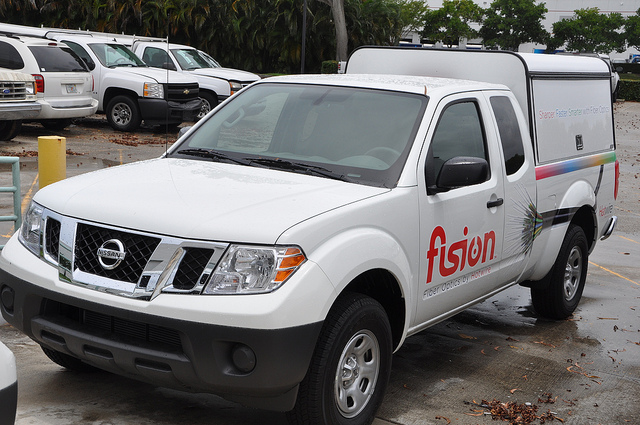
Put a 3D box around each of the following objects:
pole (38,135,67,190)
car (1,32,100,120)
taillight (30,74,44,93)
[{"bbox_3d":[-3.612,-0.665,6.324,0.312,0.705,0.497,-4,13,-34],"label":"pole"},{"bbox_3d":[-8.121,-4.052,14.256,3.446,1.860,1.816,23,22,40],"label":"car"},{"bbox_3d":[-8.288,-3.786,13.769,0.281,0.517,0.115,-4,13,-34],"label":"taillight"}]
